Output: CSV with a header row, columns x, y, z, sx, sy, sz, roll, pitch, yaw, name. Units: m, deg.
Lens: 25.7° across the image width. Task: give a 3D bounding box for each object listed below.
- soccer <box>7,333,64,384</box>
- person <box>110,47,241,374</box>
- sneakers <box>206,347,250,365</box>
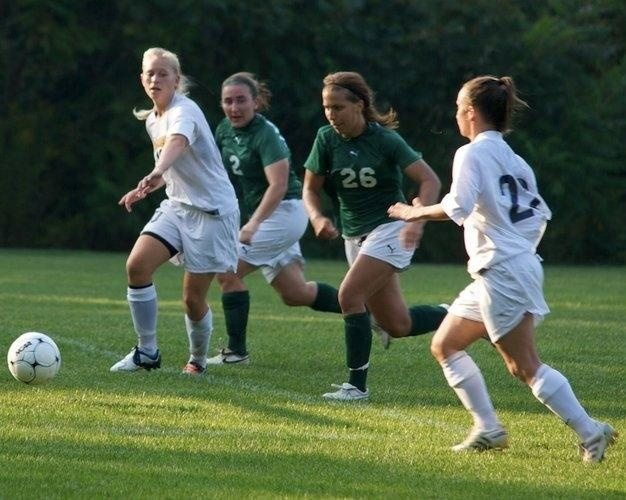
x,y,z,sx,sy,sz,roll,pitch,yaw,name
-3.249,1.258,16.028,0.594,0.530,0.324,-1,11,-12,soccer
-1.573,-0.415,16.245,1.371,3.829,1.092,1,11,-5,person
-1.055,1.315,17.131,0.590,0.217,0.186,2,-8,-2,sneakers
